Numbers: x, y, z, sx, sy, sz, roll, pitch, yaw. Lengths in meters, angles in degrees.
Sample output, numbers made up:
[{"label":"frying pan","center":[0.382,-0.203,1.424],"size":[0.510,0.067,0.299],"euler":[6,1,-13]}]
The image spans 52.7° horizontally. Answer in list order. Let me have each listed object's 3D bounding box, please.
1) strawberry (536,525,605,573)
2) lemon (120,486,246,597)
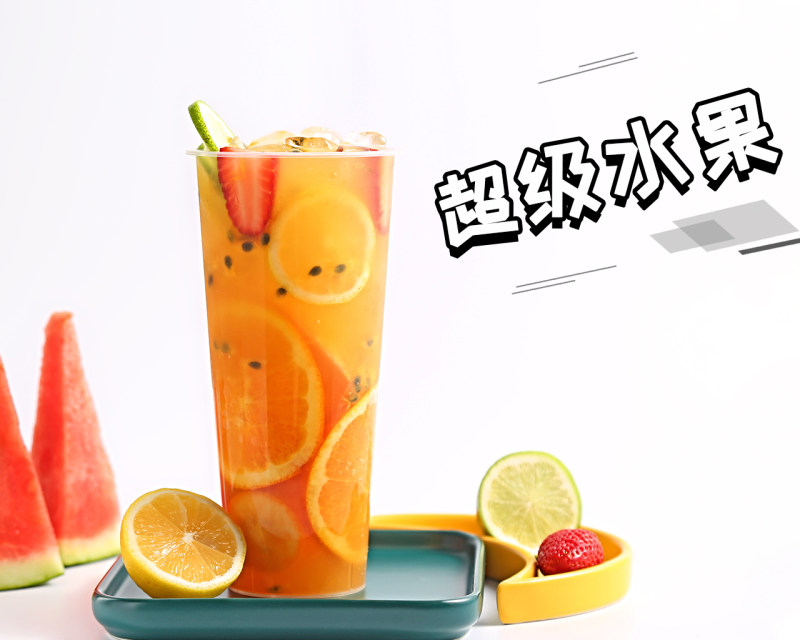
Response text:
[{"label":"strawberry","center":[0.212,0.294,1.011],"size":[0.069,0.058,0.054],"euler":[-8,35,-18]},{"label":"lemon","center":[-0.250,0.247,0.968],"size":[0.121,0.129,0.074],"euler":[4,22,-10]}]
